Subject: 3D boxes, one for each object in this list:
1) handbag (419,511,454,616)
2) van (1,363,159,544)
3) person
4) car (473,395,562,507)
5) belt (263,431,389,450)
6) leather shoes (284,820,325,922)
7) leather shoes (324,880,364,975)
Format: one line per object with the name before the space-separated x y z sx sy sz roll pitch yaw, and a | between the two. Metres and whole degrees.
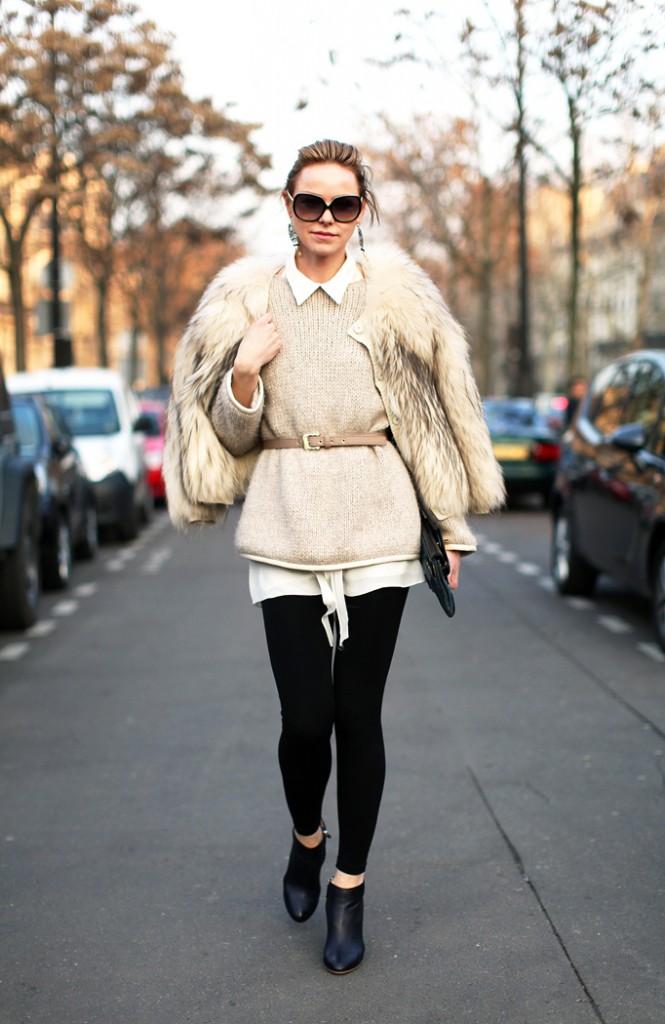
handbag | 0.208 0.097 2.064 0.058 0.210 0.113 -2 3 2
van | -2.969 -0.848 12.194 1.401 1.246 2.313 -1 1 2
person | 0.026 0.075 2.169 0.747 1.694 0.385 -3 3 -10
car | 3.002 -1.252 17.622 1.788 1.675 3.379 0 16 7
belt | -0.007 -0.144 2.080 0.266 0.037 0.120 -2 3 1
leather shoes | -0.061 0.802 2.283 0.072 0.213 0.090 5 1 0
leather shoes | 0.026 0.852 2.070 0.052 0.072 0.169 0 20 4
